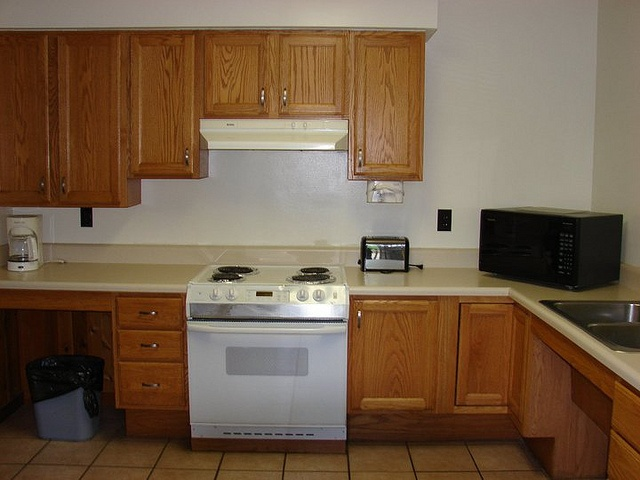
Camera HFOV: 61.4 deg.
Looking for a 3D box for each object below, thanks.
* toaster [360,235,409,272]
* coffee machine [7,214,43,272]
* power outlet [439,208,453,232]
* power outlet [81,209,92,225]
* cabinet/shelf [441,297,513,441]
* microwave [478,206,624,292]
[{"bbox_3d":[0.422,0.096,3.571,0.405,0.264,0.209,0,0,0],"label":"toaster"},{"bbox_3d":[-1.934,0.021,3.532,0.231,0.356,0.177,-7,12,-27],"label":"coffee machine"},{"bbox_3d":[0.862,-0.133,3.738,0.099,0.158,0.025,-4,11,-10],"label":"power outlet"},{"bbox_3d":[-1.632,-0.151,3.766,0.094,0.132,0.012,-2,11,-1],"label":"power outlet"},{"bbox_3d":[0.967,0.798,3.282,0.498,0.937,0.149,-1,11,6],"label":"cabinet/shelf"},{"bbox_3d":[1.411,0.010,3.284,0.553,0.458,0.732,-4,7,-29],"label":"microwave"}]
